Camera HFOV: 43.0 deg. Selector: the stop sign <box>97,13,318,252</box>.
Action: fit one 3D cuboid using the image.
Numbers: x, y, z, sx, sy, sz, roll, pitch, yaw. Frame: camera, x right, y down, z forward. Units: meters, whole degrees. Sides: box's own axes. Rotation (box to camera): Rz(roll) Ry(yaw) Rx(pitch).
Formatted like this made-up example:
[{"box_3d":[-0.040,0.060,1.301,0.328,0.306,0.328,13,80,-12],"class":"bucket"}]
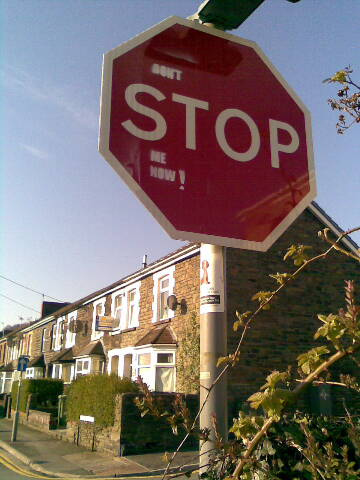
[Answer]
[{"box_3d":[0.137,-0.437,1.824,1.014,0.904,0.018,5,-12,-27],"class":"stop sign"}]
